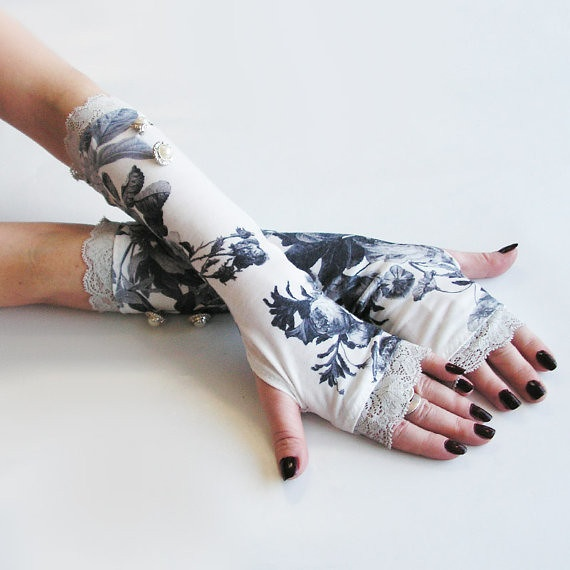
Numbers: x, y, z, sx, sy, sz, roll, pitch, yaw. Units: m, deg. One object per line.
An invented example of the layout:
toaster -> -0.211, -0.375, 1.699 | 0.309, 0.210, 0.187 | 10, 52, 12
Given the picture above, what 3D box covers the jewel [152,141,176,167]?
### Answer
jewel -> -0.187, -0.198, 1.066 | 0.016, 0.039, 0.033 | -14, 52, 43
